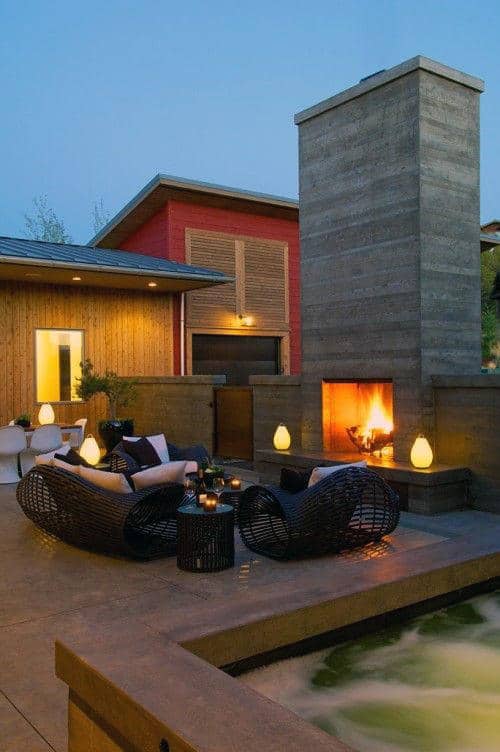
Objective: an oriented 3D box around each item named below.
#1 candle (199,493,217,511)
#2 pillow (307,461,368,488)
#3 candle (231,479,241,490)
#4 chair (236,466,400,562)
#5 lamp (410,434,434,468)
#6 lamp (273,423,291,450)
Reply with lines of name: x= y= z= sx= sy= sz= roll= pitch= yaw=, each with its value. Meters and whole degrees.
candle: x=-0.323 y=0.975 z=4.373 sx=0.156 sy=0.145 sz=0.089 roll=-1 pitch=1 yaw=2
pillow: x=0.701 y=0.796 z=4.850 sx=0.316 sy=0.121 sz=0.318 roll=-11 pitch=-2 yaw=31
candle: x=-0.162 y=1.050 z=5.524 sx=0.097 sy=0.061 sz=0.098 roll=-4 pitch=-4 yaw=39
chair: x=0.474 y=1.150 z=4.894 sx=0.979 sy=0.601 sz=0.959 roll=3 pitch=-5 yaw=-32
lamp: x=1.923 y=0.858 z=6.420 sx=0.339 sy=0.490 sz=0.335 roll=-2 pitch=-5 yaw=17
lamp: x=0.440 y=0.901 z=8.432 sx=0.326 sy=0.448 sz=0.321 roll=0 pitch=9 yaw=-2
